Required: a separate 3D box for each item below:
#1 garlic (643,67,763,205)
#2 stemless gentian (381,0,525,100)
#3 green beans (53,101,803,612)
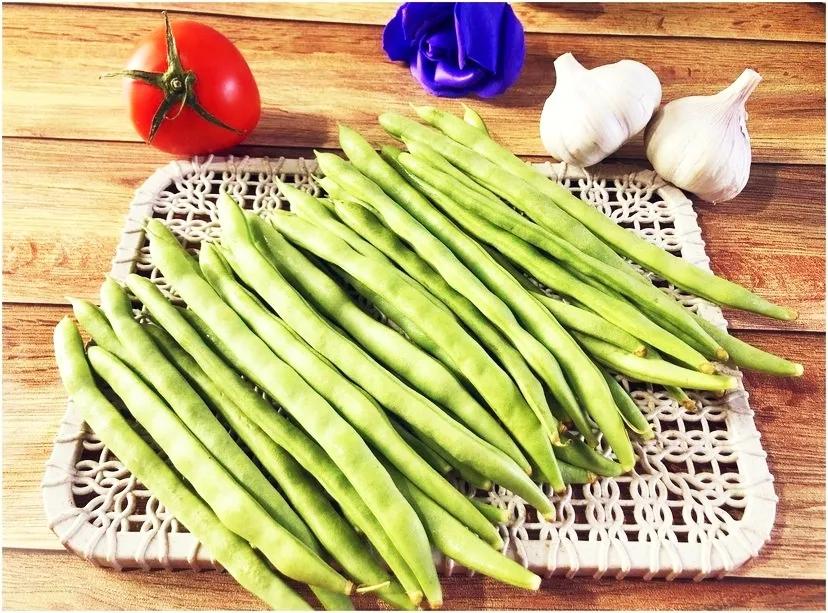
[{"bbox_3d":[0.513,-0.292,1.460,0.212,0.163,0.162,-50,33,5],"label":"garlic"},{"bbox_3d":[0.073,-0.496,1.577,0.269,0.140,0.135,7,64,1],"label":"stemless gentian"},{"bbox_3d":[0.024,0.104,1.180,0.802,0.144,0.784,-35,64,-22],"label":"green beans"}]
